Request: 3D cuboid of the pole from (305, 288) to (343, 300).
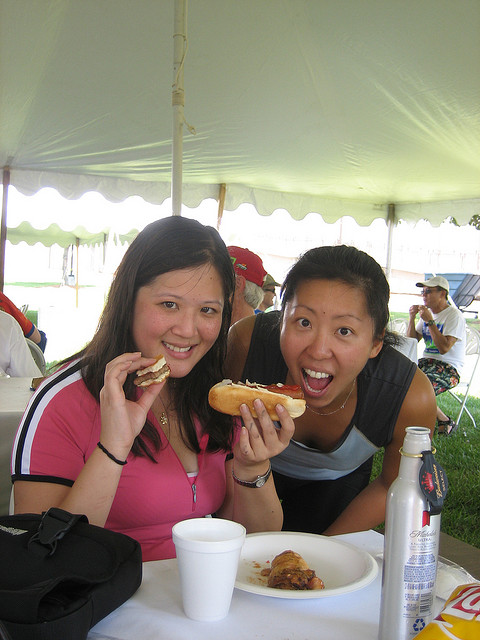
[{"bbox_3d":[0.317,-0.105,1.848,0.136,0.038,0.033,2,1,18],"label":"pole"}]
